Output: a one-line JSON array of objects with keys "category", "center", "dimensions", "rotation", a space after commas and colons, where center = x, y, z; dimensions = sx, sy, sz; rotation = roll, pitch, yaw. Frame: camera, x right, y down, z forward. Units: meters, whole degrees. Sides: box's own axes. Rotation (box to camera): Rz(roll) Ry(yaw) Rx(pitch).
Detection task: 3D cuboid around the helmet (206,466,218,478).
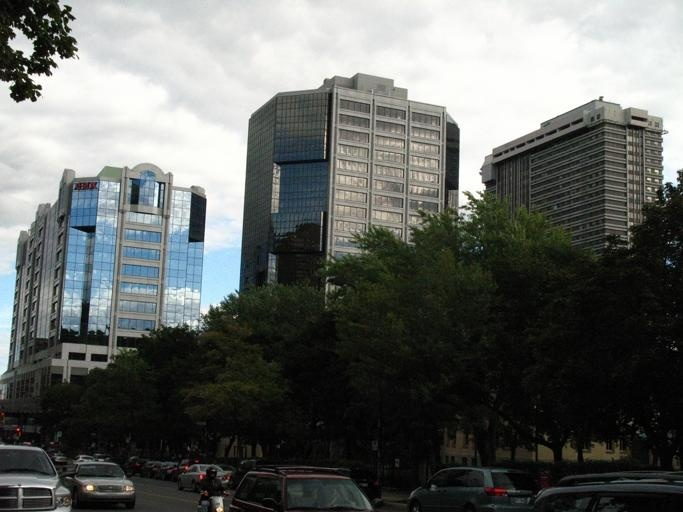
[{"category": "helmet", "center": [-4.777, 8.136, 36.984], "dimensions": [0.462, 0.470, 0.564], "rotation": [3, -5, -5]}]
